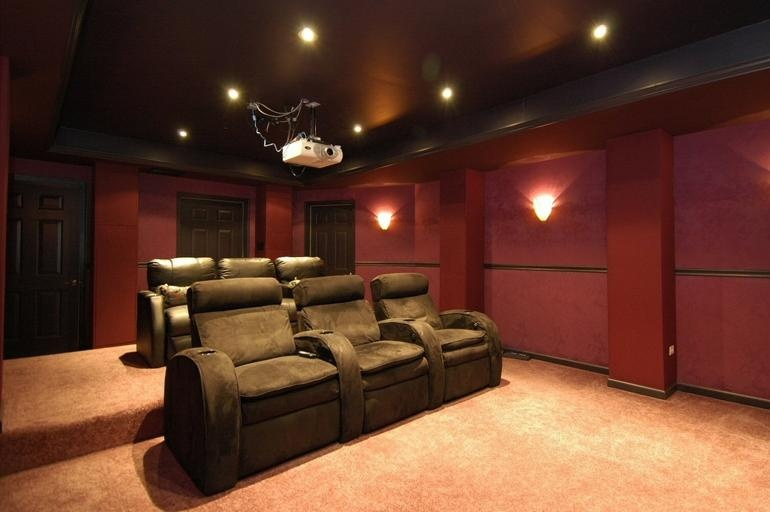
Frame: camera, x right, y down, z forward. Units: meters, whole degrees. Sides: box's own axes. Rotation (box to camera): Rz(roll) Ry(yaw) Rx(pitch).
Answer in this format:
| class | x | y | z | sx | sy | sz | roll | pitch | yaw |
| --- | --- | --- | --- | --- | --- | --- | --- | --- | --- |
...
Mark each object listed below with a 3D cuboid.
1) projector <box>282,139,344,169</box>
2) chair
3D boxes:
| class | x | y | z | sx | sy | sz | roll | pitch | yaw |
| --- | --- | --- | --- | --- | --- | --- | --- | --- | --- |
| projector | -0.874 | -1.265 | 5.910 | 0.612 | 0.288 | 0.446 | -3 | 1 | -21 |
| chair | -0.551 | 1.101 | 5.174 | 3.210 | 1.873 | 0.873 | -3 | 1 | -29 |
